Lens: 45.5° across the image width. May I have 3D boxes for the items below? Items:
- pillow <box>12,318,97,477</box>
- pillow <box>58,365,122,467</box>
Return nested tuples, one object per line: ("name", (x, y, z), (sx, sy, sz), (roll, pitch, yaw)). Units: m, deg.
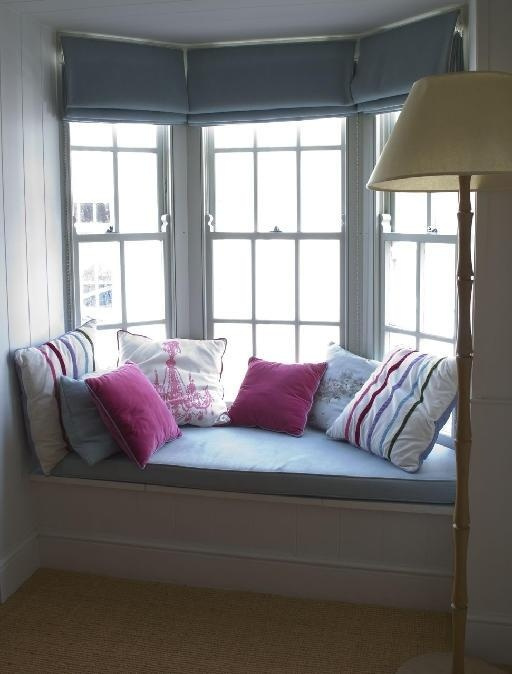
("pillow", (-0.796, 0.258, 2.380), (0.147, 0.391, 0.487), (7, 20, 7))
("pillow", (-0.629, 0.318, 2.318), (0.145, 0.278, 0.300), (7, 13, 11))
